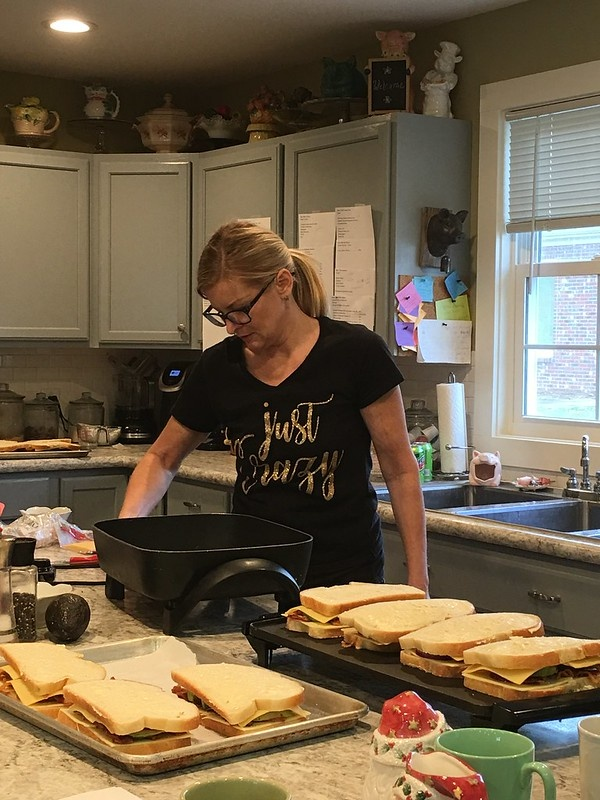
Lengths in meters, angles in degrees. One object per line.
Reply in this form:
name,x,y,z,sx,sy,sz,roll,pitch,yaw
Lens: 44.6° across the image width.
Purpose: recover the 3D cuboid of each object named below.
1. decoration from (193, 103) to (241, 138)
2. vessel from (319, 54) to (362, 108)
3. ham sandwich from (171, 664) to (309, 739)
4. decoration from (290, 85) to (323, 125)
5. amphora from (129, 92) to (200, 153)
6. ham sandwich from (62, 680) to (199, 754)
decoration,-0.424,-1.426,3.798,0.225,0.163,0.158,-1,4,-5
vessel,0.181,-1.347,3.078,0.189,0.196,0.102,0,4,4
ham sandwich,-0.058,0.316,0.772,0.075,0.017,0.074,2,5,-28
decoration,0.017,-1.324,3.335,0.084,0.141,0.197,-20,52,-36
amphora,-0.714,-1.409,3.845,0.269,0.227,0.165,-1,4,-11
ham sandwich,-0.178,0.314,0.736,0.150,0.028,0.088,-1,-3,44
